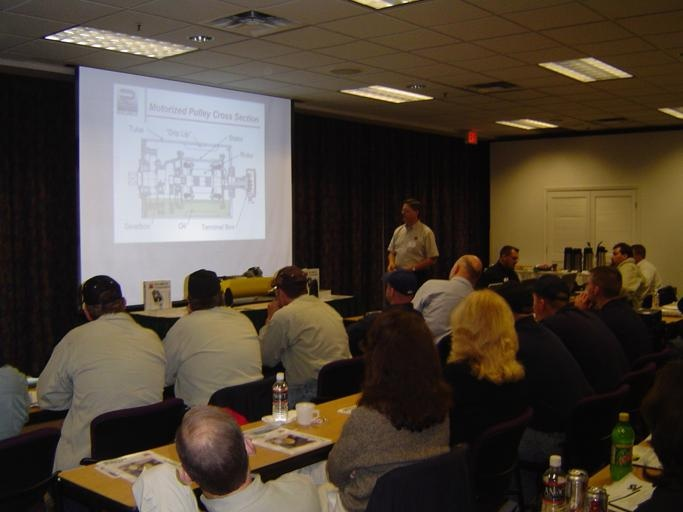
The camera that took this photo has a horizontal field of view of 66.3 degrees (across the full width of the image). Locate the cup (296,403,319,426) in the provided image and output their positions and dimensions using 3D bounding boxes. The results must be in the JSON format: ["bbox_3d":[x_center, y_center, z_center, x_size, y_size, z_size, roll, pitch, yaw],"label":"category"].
[{"bbox_3d":[-0.177,0.808,2.705,0.114,0.093,0.094,3,2,27],"label":"cup"}]

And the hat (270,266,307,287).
[{"bbox_3d":[-0.396,0.157,3.807,0.194,0.111,0.146,-9,-4,42],"label":"hat"}]

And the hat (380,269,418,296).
[{"bbox_3d":[0.440,0.200,4.121,0.166,0.135,0.232,-11,37,-28],"label":"hat"}]

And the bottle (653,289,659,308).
[{"bbox_3d":[4.105,0.574,6.840,0.047,0.188,0.187,3,11,15],"label":"bottle"}]

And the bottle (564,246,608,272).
[{"bbox_3d":[4.065,0.067,8.729,0.389,0.562,0.468,-2,5,-40],"label":"bottle"}]
